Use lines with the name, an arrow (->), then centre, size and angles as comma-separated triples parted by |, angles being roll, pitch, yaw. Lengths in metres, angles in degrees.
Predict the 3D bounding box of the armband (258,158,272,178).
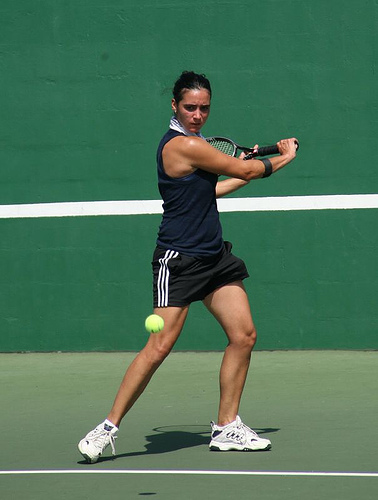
armband -> 0.382, -0.398, 3.227 | 0.065, 0.073, 0.084 | -3, -2, -37

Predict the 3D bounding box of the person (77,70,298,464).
person -> 0.054, 0.063, 3.145 | 0.810, 1.777, 0.812 | 4, 12, 4

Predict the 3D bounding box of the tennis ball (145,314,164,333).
tennis ball -> -0.161, 0.334, 3.080 | 0.090, 0.074, 0.086 | 6, 9, -1
